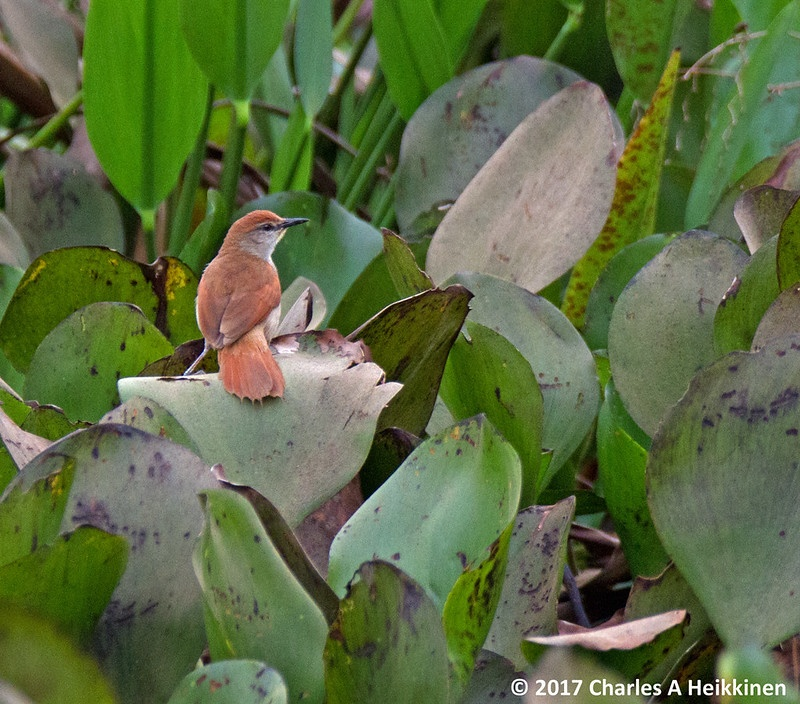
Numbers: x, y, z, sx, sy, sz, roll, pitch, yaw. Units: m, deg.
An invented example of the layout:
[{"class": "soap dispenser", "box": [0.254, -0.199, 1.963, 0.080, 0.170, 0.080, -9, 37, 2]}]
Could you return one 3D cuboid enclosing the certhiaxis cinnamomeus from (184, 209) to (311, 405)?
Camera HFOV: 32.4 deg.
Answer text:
[{"class": "certhiaxis cinnamomeus", "box": [-0.120, -0.031, 1.096, 0.076, 0.158, 0.218, -2, 4, -2]}]
